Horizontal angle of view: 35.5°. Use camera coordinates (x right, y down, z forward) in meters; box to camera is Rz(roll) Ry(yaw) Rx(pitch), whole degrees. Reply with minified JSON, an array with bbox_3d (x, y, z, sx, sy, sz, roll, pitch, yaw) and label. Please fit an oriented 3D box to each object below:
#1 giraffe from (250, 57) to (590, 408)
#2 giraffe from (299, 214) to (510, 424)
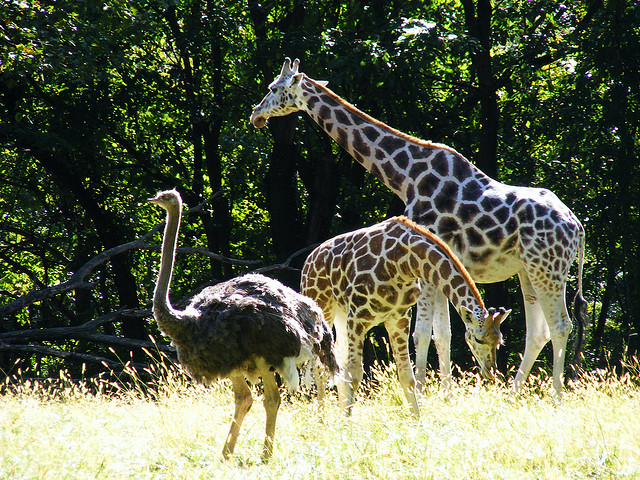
[{"bbox_3d":[0.751,-0.348,17.585,3.713,5.421,7.745,2,1,17],"label":"giraffe"},{"bbox_3d":[1.001,1.179,14.569,4.043,2.986,1.042,4,7,44],"label":"giraffe"}]
